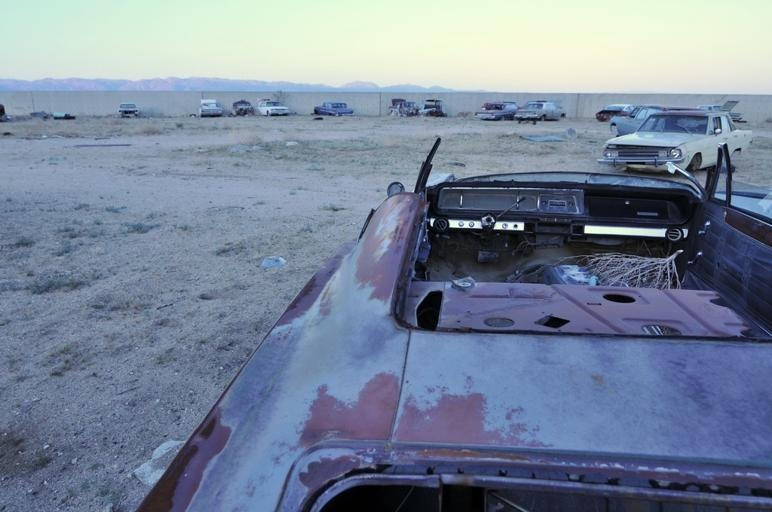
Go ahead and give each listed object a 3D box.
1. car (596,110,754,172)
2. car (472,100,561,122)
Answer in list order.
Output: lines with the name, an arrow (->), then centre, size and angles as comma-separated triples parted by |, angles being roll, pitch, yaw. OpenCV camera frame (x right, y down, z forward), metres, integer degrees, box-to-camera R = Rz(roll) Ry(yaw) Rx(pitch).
car -> 8.501, -3.423, 13.000 | 4.014, 1.619, 2.232 | -13, 25, -27
car -> 12.164, -13.267, 40.243 | 7.287, 1.709, 3.821 | 1, 21, 5
